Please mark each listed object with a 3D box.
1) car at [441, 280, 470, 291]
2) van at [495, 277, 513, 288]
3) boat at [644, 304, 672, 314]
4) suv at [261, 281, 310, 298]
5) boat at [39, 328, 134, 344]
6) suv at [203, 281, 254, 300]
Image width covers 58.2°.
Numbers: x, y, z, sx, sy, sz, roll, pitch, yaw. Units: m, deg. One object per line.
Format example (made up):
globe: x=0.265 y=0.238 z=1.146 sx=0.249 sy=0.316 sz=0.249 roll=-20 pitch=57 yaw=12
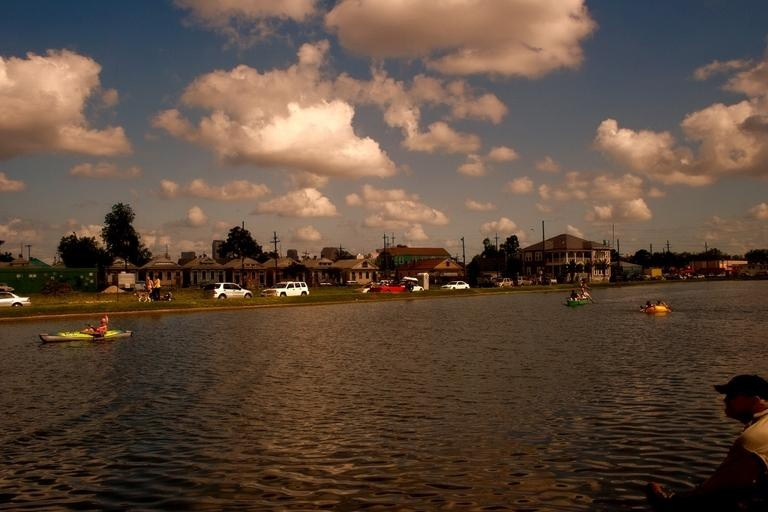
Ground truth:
car: x=10.822 y=4.499 z=105.163 sx=3.646 sy=0.869 sz=1.682 roll=3 pitch=-5 yaw=-32
van: x=20.228 y=4.482 z=114.734 sx=3.095 sy=1.196 sz=1.768 roll=4 pitch=-7 yaw=-36
boat: x=21.362 y=4.087 z=53.899 sx=1.734 sy=0.792 sz=1.853 roll=-2 pitch=-3 yaw=17
suv: x=-11.338 y=3.848 z=79.698 sx=4.538 sy=1.413 sz=2.159 roll=4 pitch=-7 yaw=-40
boat: x=-16.526 y=4.690 z=38.558 sx=4.938 sy=0.499 sz=1.485 roll=4 pitch=-4 yaw=-28
suv: x=-16.654 y=3.844 z=74.275 sx=4.551 sy=1.367 sz=2.308 roll=-2 pitch=3 yaw=-30
